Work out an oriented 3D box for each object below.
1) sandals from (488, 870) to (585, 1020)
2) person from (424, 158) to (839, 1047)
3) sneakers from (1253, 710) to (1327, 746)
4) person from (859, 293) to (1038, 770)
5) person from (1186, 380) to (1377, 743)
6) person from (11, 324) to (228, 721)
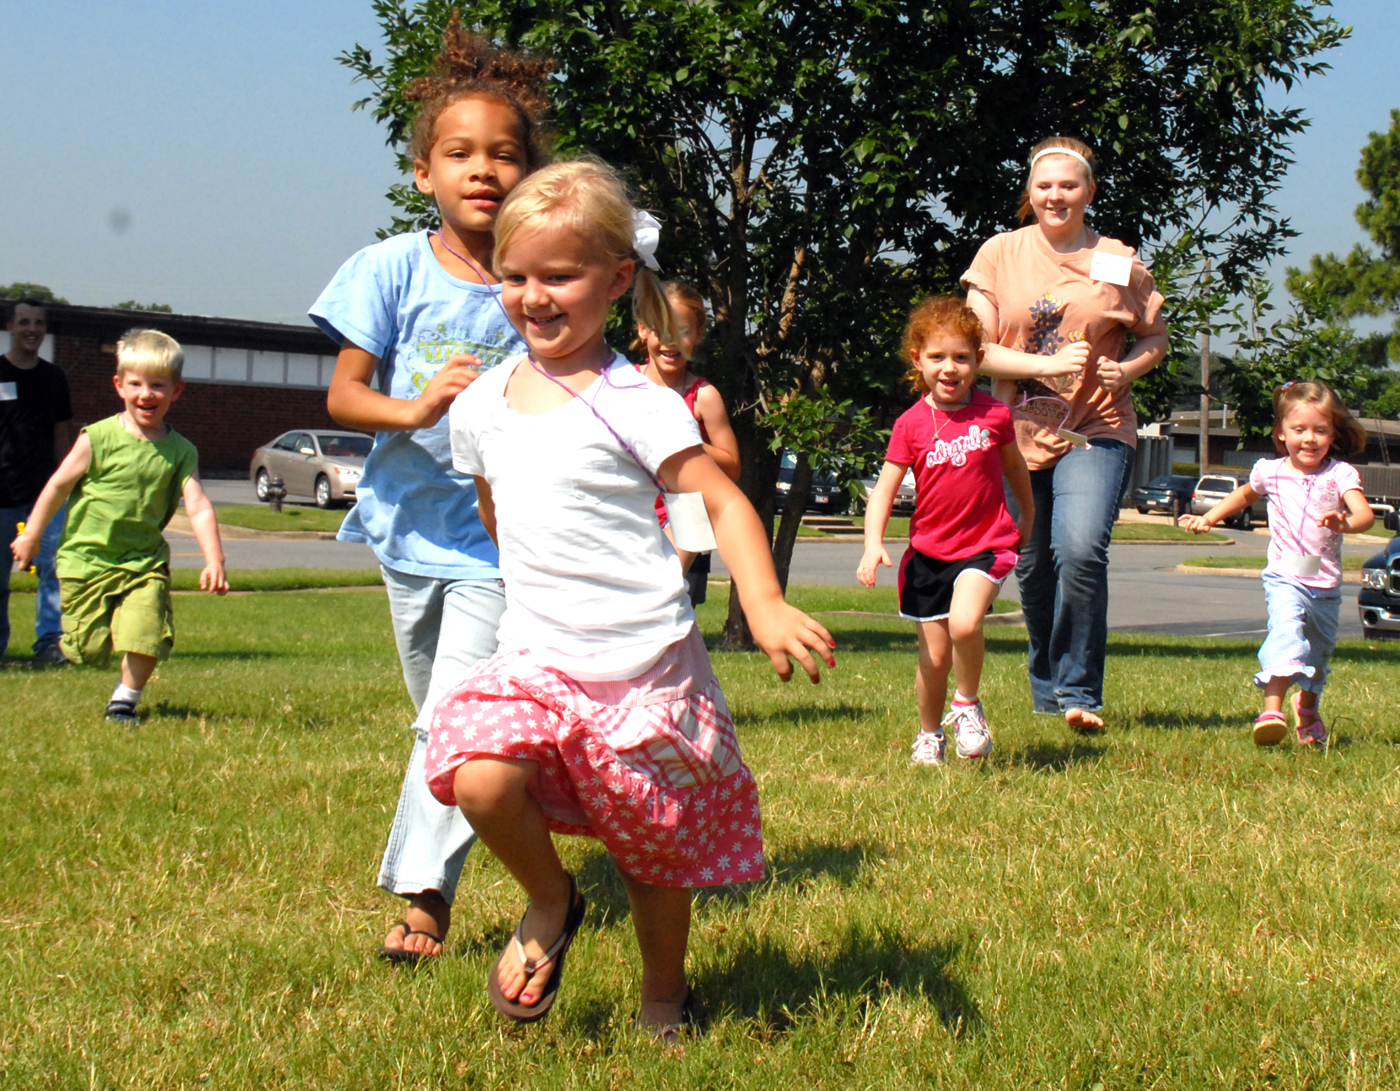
[{"bbox_3d":[-0.399,1.046,4.189,0.173,0.449,0.105,23,-3,10],"label":"sandals"},{"bbox_3d":[-0.251,0.151,4.062,0.893,2.260,0.666,0,6,4],"label":"person"},{"bbox_3d":[2.718,0.842,7.352,0.465,0.188,0.171,-1,-1,9],"label":"sneakers"},{"bbox_3d":[1.071,-0.059,6.812,0.748,1.995,0.652,0,6,4],"label":"person"},{"bbox_3d":[2.823,0.064,7.625,0.676,1.668,1.287,1,6,18],"label":"person"},{"bbox_3d":[-3.006,-0.097,8.275,1.077,2.027,0.770,-1,6,-4],"label":"person"}]
